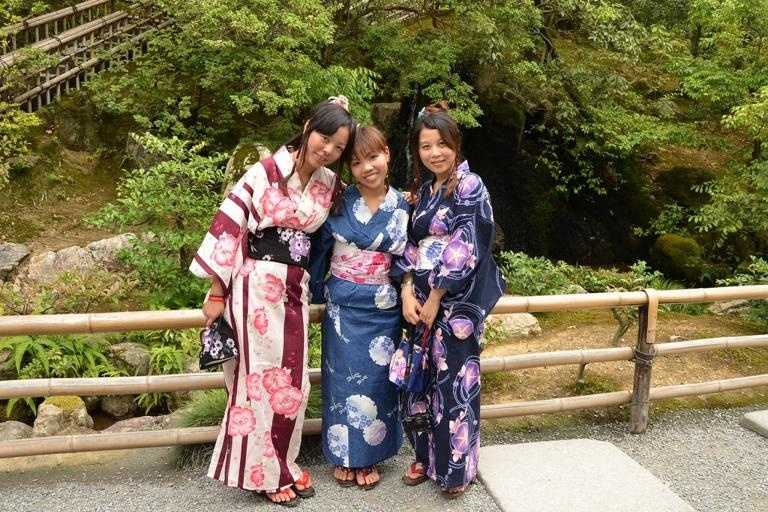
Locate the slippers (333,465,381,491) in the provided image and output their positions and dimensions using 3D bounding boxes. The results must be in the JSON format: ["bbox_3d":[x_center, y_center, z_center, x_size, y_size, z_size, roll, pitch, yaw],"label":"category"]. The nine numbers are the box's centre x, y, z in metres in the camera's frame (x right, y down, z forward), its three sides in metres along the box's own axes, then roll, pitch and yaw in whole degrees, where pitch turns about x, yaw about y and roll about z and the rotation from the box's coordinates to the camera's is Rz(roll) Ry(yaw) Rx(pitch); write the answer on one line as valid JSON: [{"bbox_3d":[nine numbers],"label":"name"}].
[{"bbox_3d":[-0.179,1.449,3.813,0.185,0.088,0.251,-1,0,-5],"label":"slippers"}]

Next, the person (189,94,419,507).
[{"bbox_3d":[-0.724,0.432,3.681,0.867,2.184,0.670,-3,16,-5],"label":"person"}]

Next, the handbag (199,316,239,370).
[{"bbox_3d":[-1.009,0.536,3.624,0.302,0.300,0.139,-9,-21,6],"label":"handbag"}]
